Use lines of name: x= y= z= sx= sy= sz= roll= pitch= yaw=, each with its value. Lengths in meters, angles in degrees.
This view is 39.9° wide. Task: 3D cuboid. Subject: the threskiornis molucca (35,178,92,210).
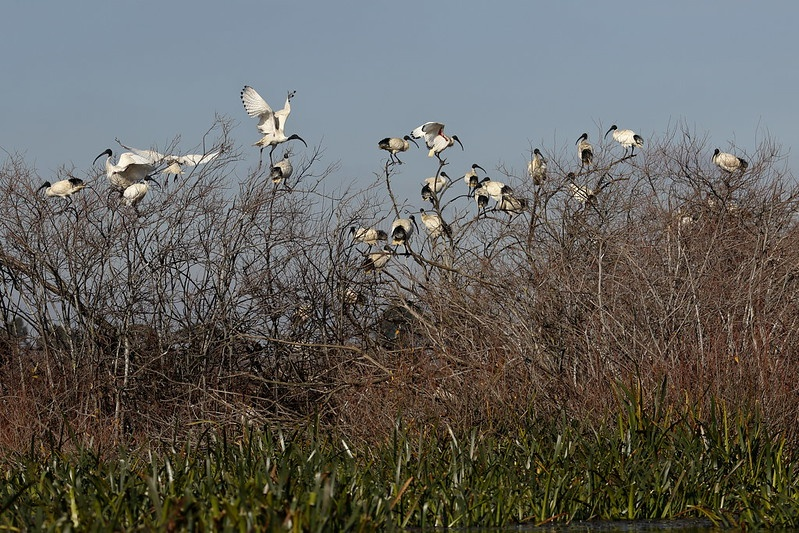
threskiornis molucca: x=-4.293 y=-0.951 z=14.239 sx=0.527 sy=0.396 sz=1.467 roll=-1 pitch=-1 yaw=-16
